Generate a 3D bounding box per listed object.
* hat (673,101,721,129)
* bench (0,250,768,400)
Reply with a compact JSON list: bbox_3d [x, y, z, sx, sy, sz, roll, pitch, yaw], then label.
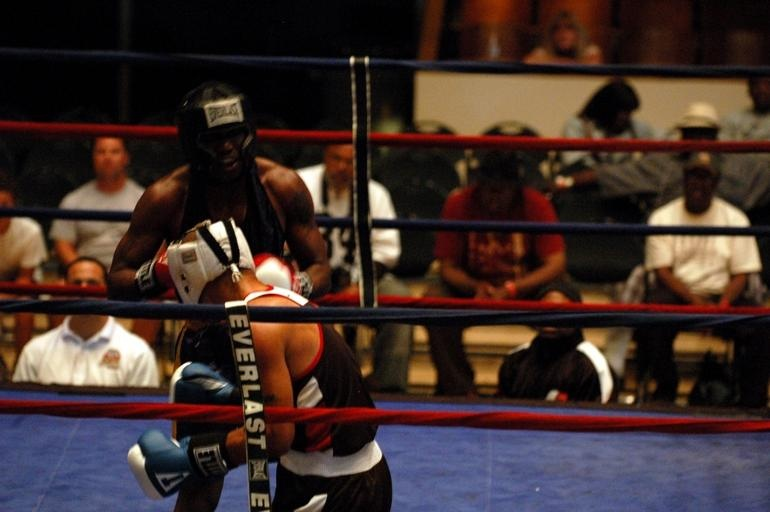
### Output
[{"bbox_3d":[1.752,-0.769,5.761,0.213,0.081,0.191,0,2,5],"label":"hat"},{"bbox_3d":[0.085,0.249,4.764,3.349,0.394,1.105,-1,11,0],"label":"bench"}]
